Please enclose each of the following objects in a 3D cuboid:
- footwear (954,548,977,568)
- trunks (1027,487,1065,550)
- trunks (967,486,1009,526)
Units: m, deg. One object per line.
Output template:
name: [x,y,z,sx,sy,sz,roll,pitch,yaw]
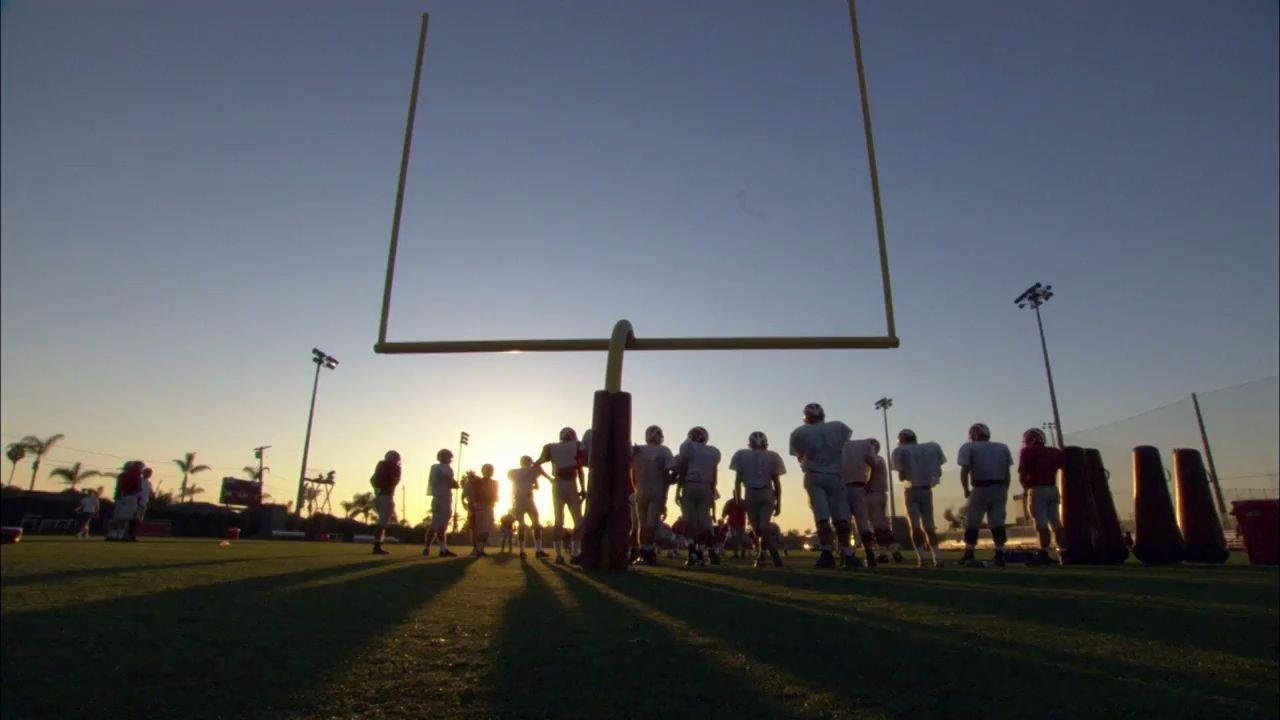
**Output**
footwear: [4.968,2.949,10.292,0.327,0.265,0.417,0,-1,12]
trunks: [6.358,2.467,10.697,0.444,1.026,0.752,0,-1,27]
trunks: [5.192,2.194,10.219,0.537,0.694,0.420,0,-1,22]
